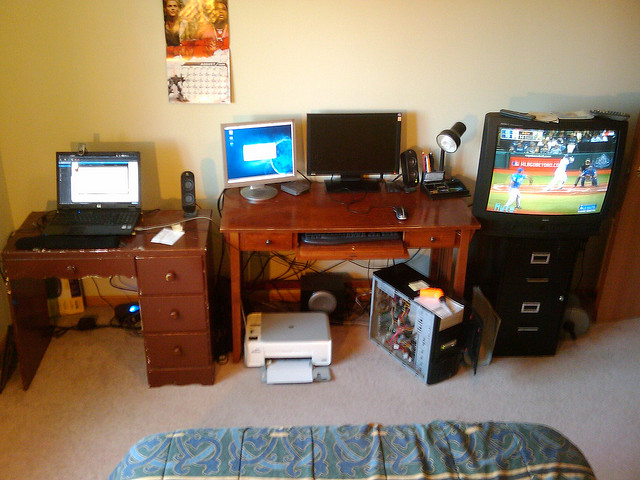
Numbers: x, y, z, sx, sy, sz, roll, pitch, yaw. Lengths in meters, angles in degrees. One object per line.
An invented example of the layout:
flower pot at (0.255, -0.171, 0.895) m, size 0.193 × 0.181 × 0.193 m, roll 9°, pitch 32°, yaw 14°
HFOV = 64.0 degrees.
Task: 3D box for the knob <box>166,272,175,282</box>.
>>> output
knob at (-0.858, 0.211, 2.958) m, size 0.041 × 0.042 × 0.041 m, roll 4°, pitch -15°, yaw -4°

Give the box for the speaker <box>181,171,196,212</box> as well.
speaker at (-0.844, -0.313, 3.301) m, size 0.088 × 0.252 × 0.086 m, roll -6°, pitch 20°, yaw -15°

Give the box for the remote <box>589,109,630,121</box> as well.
remote at (1.782, -0.774, 3.159) m, size 0.206 × 0.052 × 0.134 m, roll 2°, pitch 8°, yaw 8°

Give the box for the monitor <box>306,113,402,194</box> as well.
monitor at (0.226, -0.634, 3.390) m, size 0.617 × 0.396 × 0.048 m, roll -1°, pitch 19°, yaw -2°

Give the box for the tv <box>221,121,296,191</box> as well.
tv at (-0.398, -0.568, 3.319) m, size 0.435 × 0.365 × 0.034 m, roll -7°, pitch 22°, yaw -17°

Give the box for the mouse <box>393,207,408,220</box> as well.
mouse at (0.499, -0.170, 3.155) m, size 0.084 × 0.054 × 0.127 m, roll 1°, pitch 20°, yaw 3°

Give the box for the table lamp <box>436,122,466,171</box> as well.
table lamp at (0.859, -0.604, 3.365) m, size 0.160 × 0.328 × 0.376 m, roll 5°, pitch 20°, yaw 14°

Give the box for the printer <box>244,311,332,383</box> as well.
printer at (-0.207, 0.585, 3.381) m, size 0.548 × 0.408 × 0.466 m, roll 1°, pitch 24°, yaw -7°

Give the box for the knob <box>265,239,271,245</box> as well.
knob at (-0.311, 0.012, 3.074) m, size 0.021 × 0.027 × 0.021 m, roll 2°, pitch 31°, yaw 0°

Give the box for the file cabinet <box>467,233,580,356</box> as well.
file cabinet at (1.310, 0.329, 3.620) m, size 0.583 × 0.864 × 0.582 m, roll -1°, pitch 25°, yaw -3°

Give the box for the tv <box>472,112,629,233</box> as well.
tv at (1.452, -0.427, 3.360) m, size 0.821 × 0.782 × 0.478 m, roll 2°, pitch 21°, yaw 11°

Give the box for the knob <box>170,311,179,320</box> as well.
knob at (-0.857, 0.443, 3.038) m, size 0.044 × 0.045 × 0.043 m, roll -15°, pitch 46°, yaw 5°

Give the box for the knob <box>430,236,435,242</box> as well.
knob at (0.690, -0.013, 3.138) m, size 0.030 × 0.029 × 0.007 m, roll 4°, pitch 13°, yaw 2°

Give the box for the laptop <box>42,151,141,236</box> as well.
laptop at (-1.318, -0.335, 3.039) m, size 0.511 × 0.381 × 0.406 m, roll -2°, pitch 6°, yaw -17°

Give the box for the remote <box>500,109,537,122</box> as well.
remote at (1.196, -0.764, 3.110) m, size 0.165 × 0.029 × 0.084 m, roll 19°, pitch 29°, yaw 30°

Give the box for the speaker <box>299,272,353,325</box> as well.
speaker at (0.016, 0.413, 3.738) m, size 0.311 × 0.289 × 0.181 m, roll 0°, pitch 6°, yaw -7°

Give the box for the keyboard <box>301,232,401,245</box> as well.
keyboard at (0.200, -0.015, 3.107) m, size 0.599 × 0.058 × 0.062 m, roll -2°, pitch 20°, yaw -4°
